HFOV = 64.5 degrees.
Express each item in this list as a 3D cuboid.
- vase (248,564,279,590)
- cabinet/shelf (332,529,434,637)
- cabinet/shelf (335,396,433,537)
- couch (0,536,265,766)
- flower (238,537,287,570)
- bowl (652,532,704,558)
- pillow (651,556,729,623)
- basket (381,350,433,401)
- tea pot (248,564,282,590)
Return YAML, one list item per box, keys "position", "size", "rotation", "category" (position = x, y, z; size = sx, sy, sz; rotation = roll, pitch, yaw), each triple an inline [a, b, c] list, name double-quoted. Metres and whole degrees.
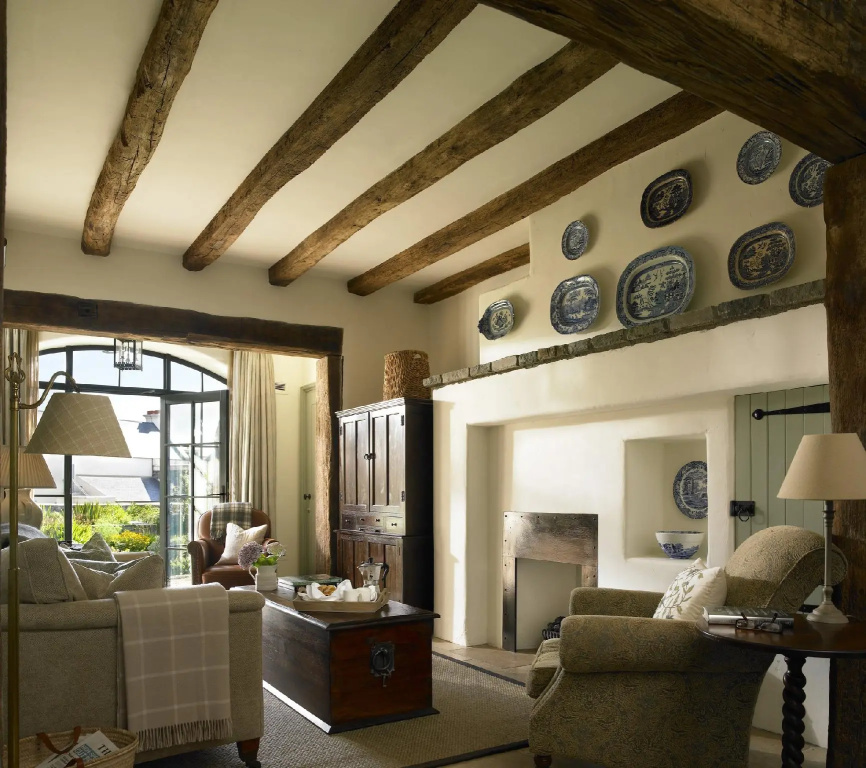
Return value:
- position: [-1.108, 1.270, 4.518]
  size: [0.116, 0.156, 0.204]
  rotation: [3, -6, -35]
  category: "vase"
- position: [-0.292, 1.332, 4.659]
  size: [0.289, 0.791, 0.756]
  rotation: [4, -7, -37]
  category: "cabinet/shelf"
- position: [-0.392, 0.725, 5.882]
  size: [0.405, 1.144, 1.097]
  rotation: [4, -8, -32]
  category: "cabinet/shelf"
- position: [-1.313, 0.877, 3.063]
  size: [1.023, 1.016, 1.075]
  rotation: [4, -8, -37]
  category: "couch"
- position: [-1.116, 1.112, 4.503]
  size: [0.300, 0.232, 0.320]
  rotation: [-4, -4, -5]
  category: "flower"
- position: [1.408, 0.907, 3.896]
  size: [0.175, 0.109, 0.177]
  rotation: [-1, -12, 0]
  category: "bowl"
- position: [1.090, 0.870, 2.901]
  size: [0.134, 0.276, 0.308]
  rotation: [18, -16, -1]
  category: "pillow"
- position: [-0.239, -0.077, 5.915]
  size: [0.431, 0.410, 0.328]
  rotation: [-3, -7, 13]
  category: "basket"
- position: [-1.103, 1.262, 4.537]
  size: [0.133, 0.181, 0.233]
  rotation: [3, -6, -39]
  category: "tea pot"
